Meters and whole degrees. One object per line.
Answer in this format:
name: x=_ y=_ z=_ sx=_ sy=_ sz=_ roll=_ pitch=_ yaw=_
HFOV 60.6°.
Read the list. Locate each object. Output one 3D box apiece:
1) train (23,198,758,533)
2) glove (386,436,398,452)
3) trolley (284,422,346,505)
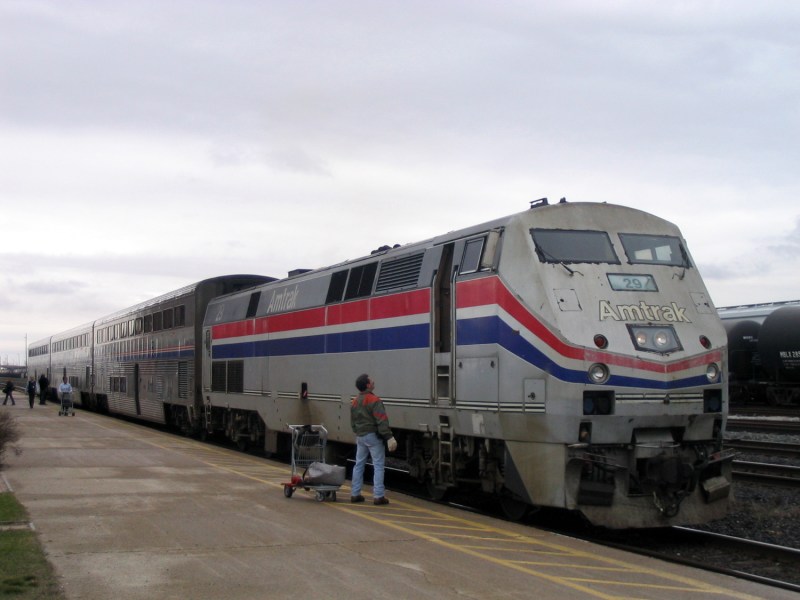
train: x=-4.263 y=1.802 z=21.368 sx=3.154 sy=5.646 sz=28.920 roll=7 pitch=-9 yaw=-34
glove: x=-0.140 y=2.310 z=10.869 sx=0.245 sy=0.118 sz=0.318 roll=0 pitch=2 yaw=7
trolley: x=-1.464 y=2.804 z=11.873 sx=0.814 sy=1.272 sz=1.444 roll=10 pitch=-16 yaw=-37
